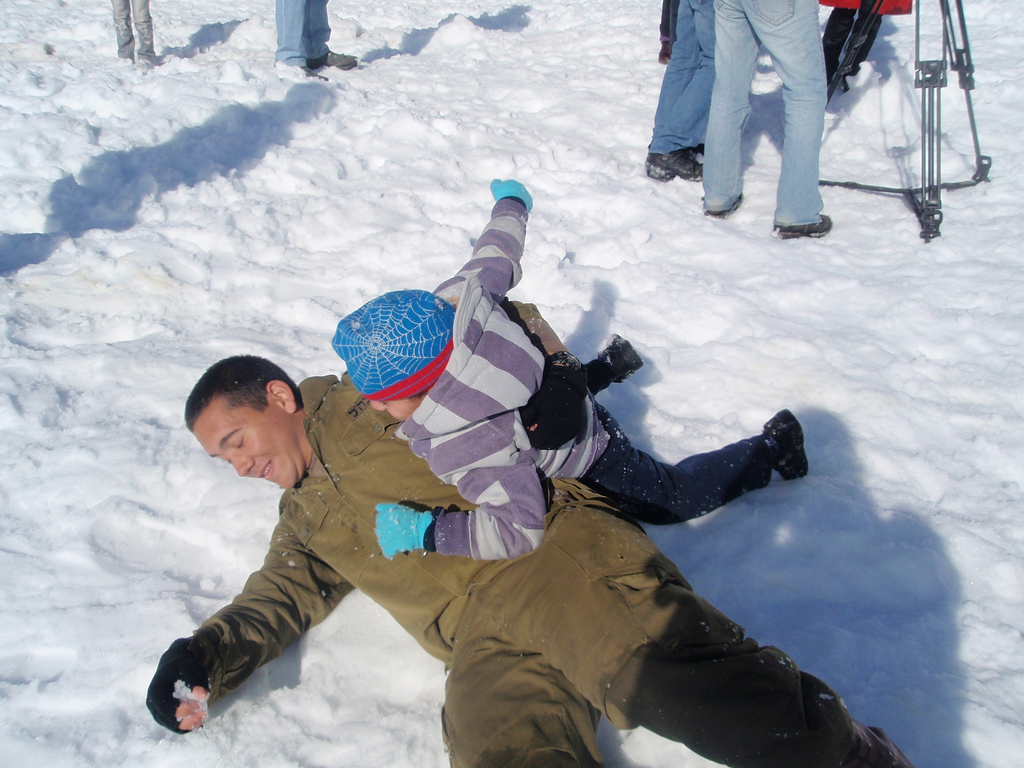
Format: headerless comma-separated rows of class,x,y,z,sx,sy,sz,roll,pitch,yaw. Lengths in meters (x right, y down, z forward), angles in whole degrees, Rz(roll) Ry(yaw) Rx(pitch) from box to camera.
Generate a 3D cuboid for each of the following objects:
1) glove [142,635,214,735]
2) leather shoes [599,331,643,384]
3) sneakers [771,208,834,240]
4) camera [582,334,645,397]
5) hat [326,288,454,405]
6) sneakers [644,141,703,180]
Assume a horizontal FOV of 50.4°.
glove,-1.490,1.337,4.883,0.172,0.293,0.390,10,29,-42
leather shoes,0.602,-0.150,6.025,0.144,0.177,0.266,34,5,25
sneakers,1.902,-1.060,7.095,0.335,0.156,0.158,-6,4,15
camera,0.545,-0.160,5.917,0.256,0.441,0.151,-24,79,-53
hat,-0.520,-0.179,4.875,0.541,0.443,0.292,-2,25,-10
sneakers,1.162,-1.606,7.800,0.384,0.213,0.161,-12,-4,0
